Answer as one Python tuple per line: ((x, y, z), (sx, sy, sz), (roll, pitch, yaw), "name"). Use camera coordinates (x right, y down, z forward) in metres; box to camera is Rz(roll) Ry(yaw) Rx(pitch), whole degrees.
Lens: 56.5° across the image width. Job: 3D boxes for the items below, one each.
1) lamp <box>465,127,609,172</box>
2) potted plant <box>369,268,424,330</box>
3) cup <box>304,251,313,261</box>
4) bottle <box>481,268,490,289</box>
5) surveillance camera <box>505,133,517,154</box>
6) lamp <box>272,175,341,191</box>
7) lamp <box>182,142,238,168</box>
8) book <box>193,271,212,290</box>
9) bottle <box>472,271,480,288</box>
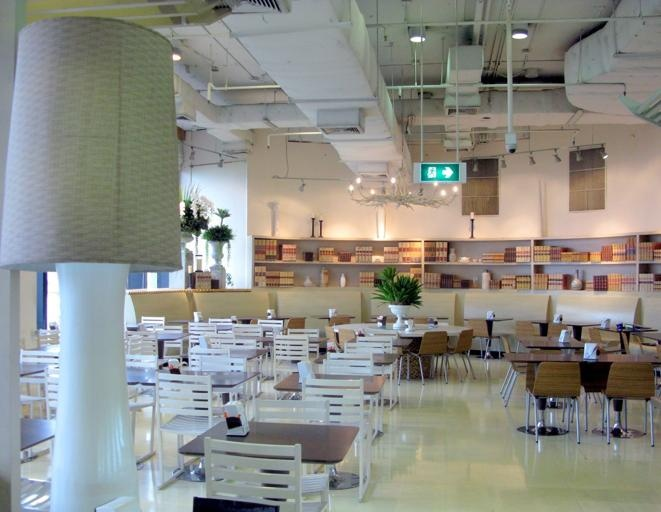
((4.367, -2.359, 13.256), (1.426, 0.652, 2.523), (1, 0, -27), "lamp")
((1.169, 0.713, 10.030), (0.751, 0.821, 0.683), (1, 0, 44), "potted plant")
((-0.511, 0.024, 14.672), (0.294, 0.296, 0.163), (0, -6, -3), "cup")
((3.491, 0.547, 13.859), (0.195, 0.310, 0.499), (1, 0, 13), "bottle")
((2.036, -1.294, 6.965), (0.101, 0.191, 0.248), (1, 0, 13), "surveillance camera")
((-0.513, -1.751, 14.576), (1.643, 0.292, 0.128), (1, 0, -6), "lamp")
((-3.128, -2.466, 15.495), (1.408, 0.617, 0.925), (6, 15, 25), "lamp")
((-2.692, 0.570, 13.045), (0.314, 0.435, 0.447), (-4, -5, 31), "book")
((3.346, 0.545, 14.134), (0.187, 0.258, 0.248), (1, 0, 12), "bottle")
